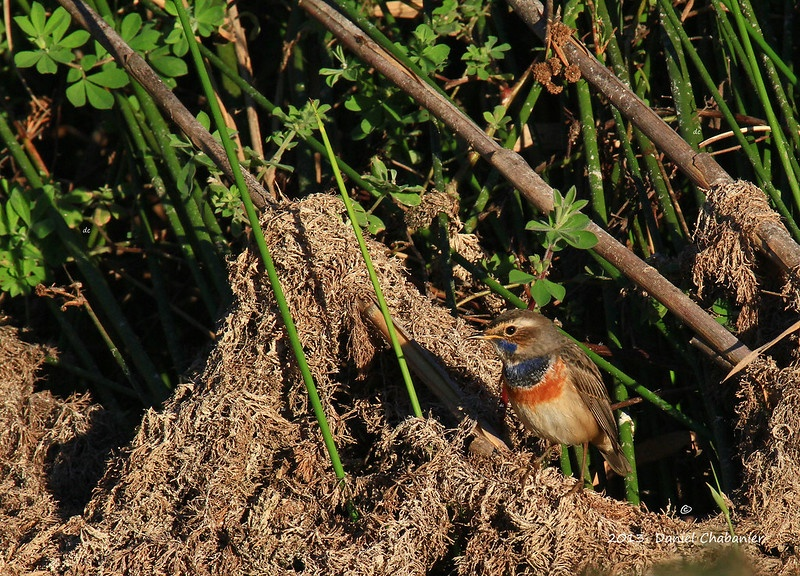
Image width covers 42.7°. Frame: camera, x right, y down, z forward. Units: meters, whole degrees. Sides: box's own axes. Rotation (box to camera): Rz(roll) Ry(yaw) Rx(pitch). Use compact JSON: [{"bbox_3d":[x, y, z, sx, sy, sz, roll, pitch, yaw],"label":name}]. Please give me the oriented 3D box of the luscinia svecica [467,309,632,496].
[{"bbox_3d":[0.870,0.584,5.527,0.971,0.942,0.479,0,-2,-29],"label":"luscinia svecica"}]
